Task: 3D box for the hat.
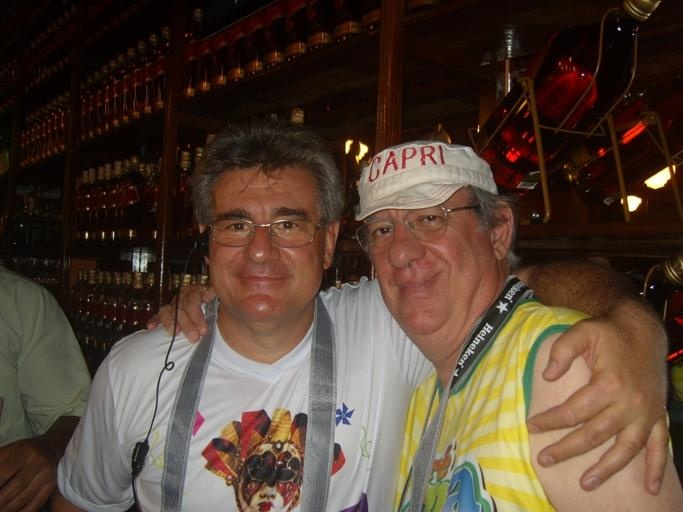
[{"bbox_3d":[0.266,-0.179,1.497,0.319,0.163,0.243,-2,-11,-38],"label":"hat"}]
